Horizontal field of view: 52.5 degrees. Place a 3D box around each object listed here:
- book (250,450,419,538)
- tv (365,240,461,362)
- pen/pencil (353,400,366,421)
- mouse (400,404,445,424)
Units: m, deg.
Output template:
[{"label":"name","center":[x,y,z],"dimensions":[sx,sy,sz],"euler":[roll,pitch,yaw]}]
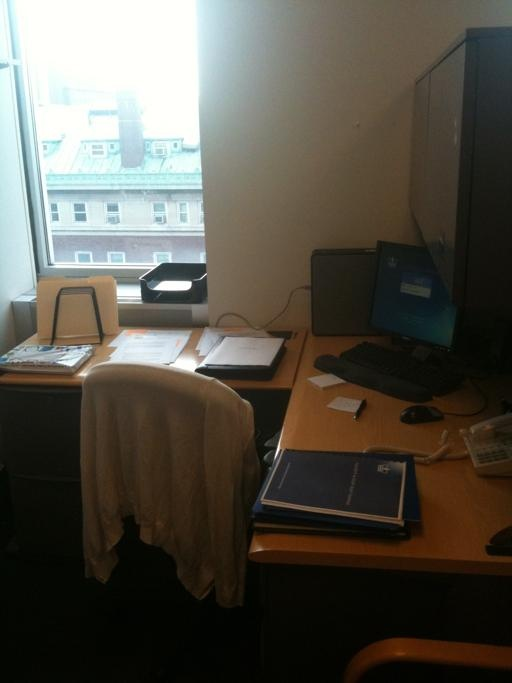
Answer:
[{"label":"book","center":[0.163,0.273,1.024],"dimensions":[0.313,0.044,0.284],"euler":[3,21,8]},{"label":"tv","center":[0.497,-0.120,1.646],"dimensions":[0.065,0.287,0.352],"euler":[-6,18,-23]},{"label":"pen/pencil","center":[0.278,0.186,1.407],"dimensions":[0.017,0.025,0.129],"euler":[3,23,15]},{"label":"mouse","center":[0.431,0.186,1.329],"dimensions":[0.085,0.034,0.054],"euler":[-6,23,-1]}]
